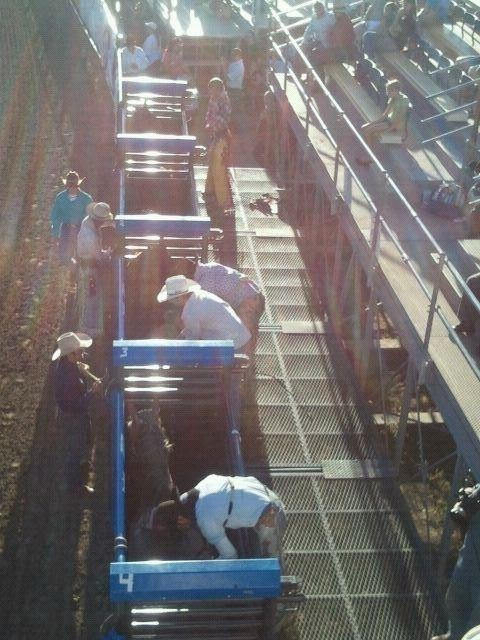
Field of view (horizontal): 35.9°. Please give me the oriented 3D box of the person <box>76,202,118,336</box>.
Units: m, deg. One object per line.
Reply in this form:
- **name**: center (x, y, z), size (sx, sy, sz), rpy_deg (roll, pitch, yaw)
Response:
- **person**: center (-1.677, -0.565, 8.665), size (0.325, 1.778, 0.422), rpy_deg (-9, 31, -26)

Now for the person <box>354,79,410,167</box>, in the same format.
- **person**: center (2.210, -3.030, 11.533), size (0.687, 1.736, 0.772), rpy_deg (-9, 57, 10)

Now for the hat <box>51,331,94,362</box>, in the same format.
- **hat**: center (-1.491, 0.249, 6.775), size (0.239, 0.153, 0.338), rpy_deg (-13, 29, 40)

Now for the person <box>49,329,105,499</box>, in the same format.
- **person**: center (-1.588, 1.026, 7.217), size (0.304, 1.523, 0.484), rpy_deg (-9, 32, -22)
